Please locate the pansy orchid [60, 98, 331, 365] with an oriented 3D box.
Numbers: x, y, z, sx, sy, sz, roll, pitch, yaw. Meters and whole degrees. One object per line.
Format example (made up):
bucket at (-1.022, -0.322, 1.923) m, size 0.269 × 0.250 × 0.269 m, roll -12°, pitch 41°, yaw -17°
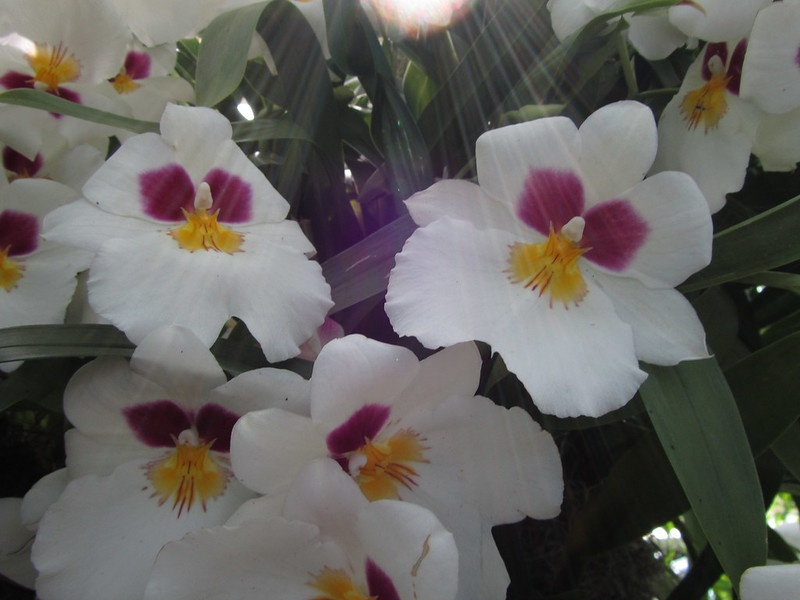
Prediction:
pansy orchid at (-0.241, -0.064, 0.774) m, size 0.284 × 0.146 × 0.296 m, roll -23°, pitch 55°, yaw -28°
